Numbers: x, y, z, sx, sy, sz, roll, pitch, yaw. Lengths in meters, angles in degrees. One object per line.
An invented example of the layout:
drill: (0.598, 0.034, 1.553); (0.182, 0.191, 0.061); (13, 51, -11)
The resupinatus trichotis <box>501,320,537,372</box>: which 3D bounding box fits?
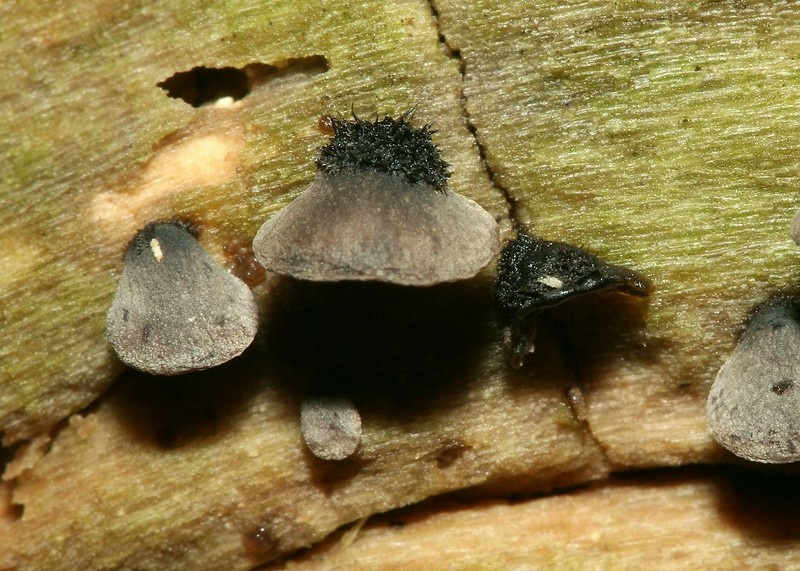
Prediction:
resupinatus trichotis: (0.566, 0.297, 5.301); (0.178, 0.090, 0.237); (11, 81, 17)
